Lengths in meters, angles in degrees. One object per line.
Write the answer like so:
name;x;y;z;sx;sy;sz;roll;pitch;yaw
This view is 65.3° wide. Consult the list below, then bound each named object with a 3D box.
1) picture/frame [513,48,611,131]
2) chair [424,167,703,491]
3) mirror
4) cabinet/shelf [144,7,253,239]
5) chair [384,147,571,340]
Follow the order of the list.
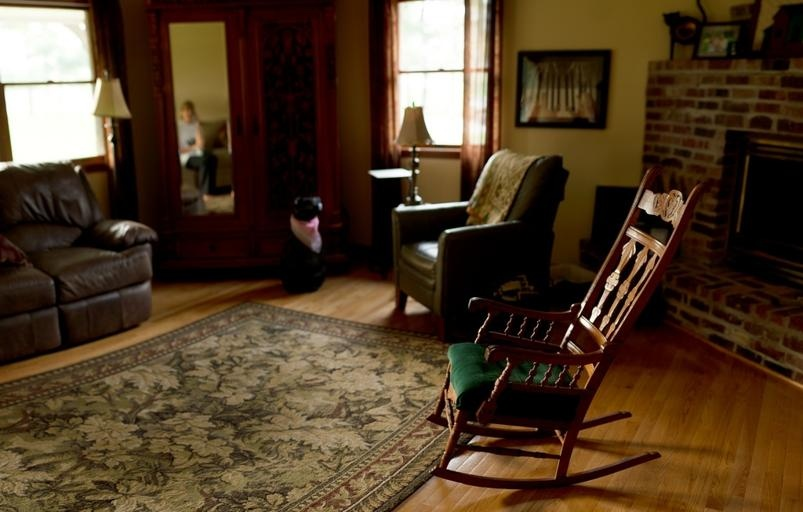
picture/frame;1.521;-1.564;5.792;0.795;0.649;0.035;4;12;14
chair;0.849;0.317;3.954;1.506;1.757;1.349;-3;20;-7
mirror;-1.917;-1.209;5.911;0.750;2.274;0.143;-15;39;-34
cabinet/shelf;-1.851;-1.259;5.862;0.835;1.978;0.452;-4;20;-9
chair;0.611;-0.151;5.282;1.310;1.279;1.114;-5;18;-11
